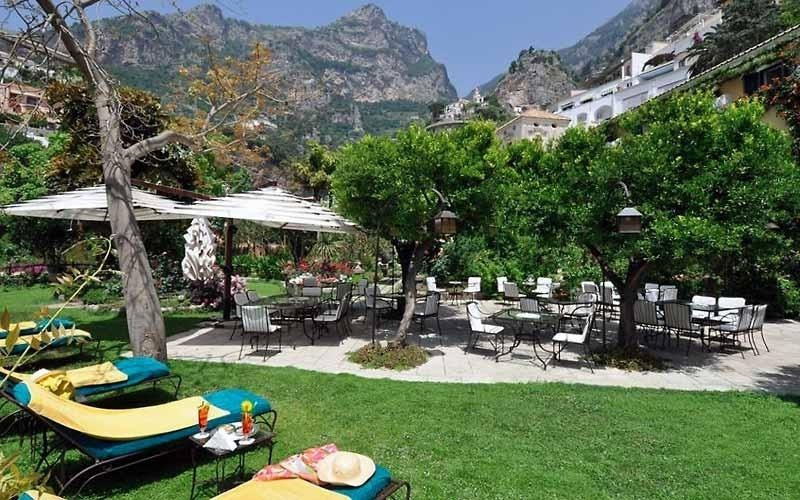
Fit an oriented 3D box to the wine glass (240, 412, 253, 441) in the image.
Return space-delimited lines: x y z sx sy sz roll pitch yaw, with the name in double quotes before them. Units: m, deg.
"wine glass" -3.017 3.485 12.013 0.196 0.495 0.131 0 -1 -16
